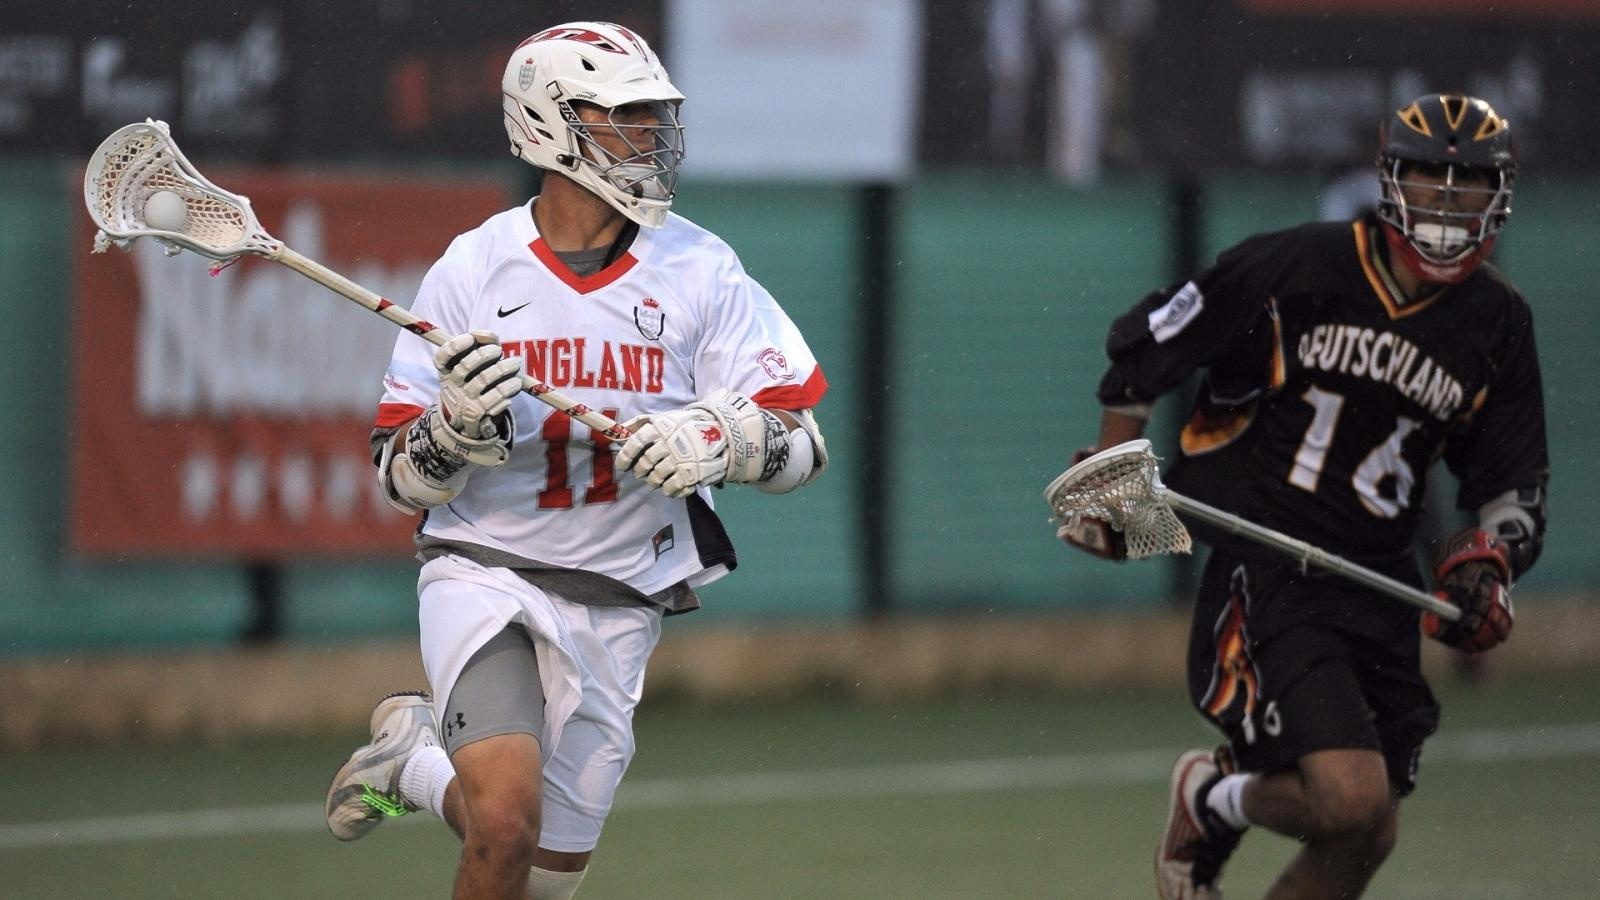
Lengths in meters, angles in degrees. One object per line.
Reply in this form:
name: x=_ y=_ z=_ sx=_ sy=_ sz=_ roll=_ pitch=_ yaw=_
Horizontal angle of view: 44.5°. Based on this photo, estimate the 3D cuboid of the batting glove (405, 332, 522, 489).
batting glove: x=-1.050 y=-0.130 z=6.079 sx=0.220 sy=0.387 sz=0.285 roll=-26 pitch=68 yaw=-40

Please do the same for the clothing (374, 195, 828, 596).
clothing: x=-0.784 y=-0.138 z=6.532 sx=1.749 sy=1.417 sz=0.803 roll=0 pitch=13 yaw=-29

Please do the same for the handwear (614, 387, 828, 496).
handwear: x=-0.237 y=-0.060 z=6.176 sx=0.516 sy=0.228 sz=0.332 roll=-9 pitch=20 yaw=-44

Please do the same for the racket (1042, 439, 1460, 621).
racket: x=1.585 y=0.322 z=6.648 sx=1.420 sy=0.234 sz=0.553 roll=21 pitch=25 yaw=10

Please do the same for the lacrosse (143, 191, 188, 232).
lacrosse: x=-1.974 y=-0.744 z=6.098 sx=0.134 sy=0.128 sz=0.058 roll=-4 pitch=10 yaw=-18
